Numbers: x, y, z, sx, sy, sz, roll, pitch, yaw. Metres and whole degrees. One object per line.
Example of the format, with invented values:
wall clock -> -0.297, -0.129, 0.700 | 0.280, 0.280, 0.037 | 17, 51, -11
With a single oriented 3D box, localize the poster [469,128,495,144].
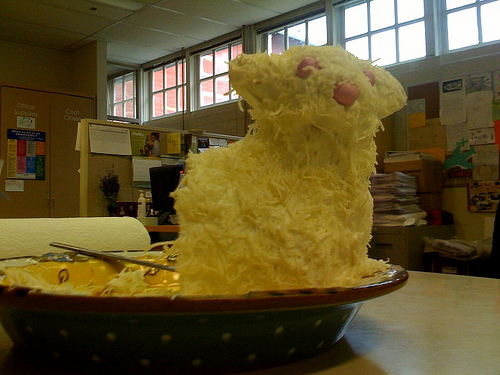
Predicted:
poster -> 1.903, -0.423, 3.086 | 0.144, 0.099, 0.021 | 5, 5, 44

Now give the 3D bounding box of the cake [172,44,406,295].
cake -> 0.056, -0.022, 0.519 | 0.333, 0.333, 0.186 | -1, 5, -24

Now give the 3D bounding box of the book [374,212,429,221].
book -> 1.123, 0.215, 2.784 | 0.154, 0.037, 0.151 | -8, 2, -21

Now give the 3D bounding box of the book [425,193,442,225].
book -> 1.495, 0.178, 3.100 | 0.104, 0.103, 0.177 | -1, 22, 25

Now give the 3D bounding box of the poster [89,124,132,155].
poster -> -1.174, -0.409, 3.220 | 0.411, 0.247, 0.041 | 8, 20, 15

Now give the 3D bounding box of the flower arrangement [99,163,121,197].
flower arrangement -> -1.175, -0.035, 3.196 | 0.204, 0.290, 0.190 | -1, 0, 34

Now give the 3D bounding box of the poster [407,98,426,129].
poster -> 1.528, -0.676, 3.469 | 0.010, 0.260, 0.189 | -4, 4, -28
